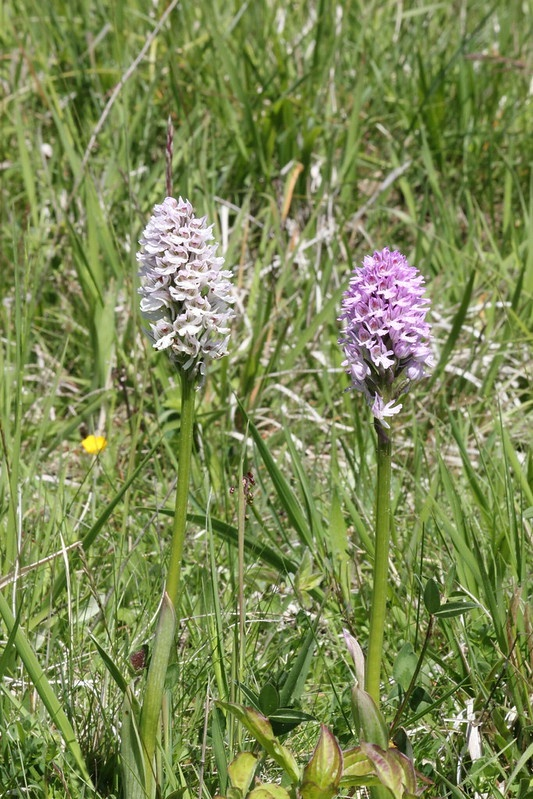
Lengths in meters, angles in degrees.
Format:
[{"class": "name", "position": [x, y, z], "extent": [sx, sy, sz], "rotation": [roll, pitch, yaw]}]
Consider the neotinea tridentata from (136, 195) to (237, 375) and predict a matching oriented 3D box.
[{"class": "neotinea tridentata", "position": [-0.125, -0.172, 1.249], "extent": [0.139, 0.222, 0.179], "rotation": [-12, 39, -8]}]

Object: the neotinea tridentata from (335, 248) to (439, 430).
[{"class": "neotinea tridentata", "position": [0.179, -0.061, 1.263], "extent": [0.135, 0.364, 0.240], "rotation": [1, 39, 8]}]
